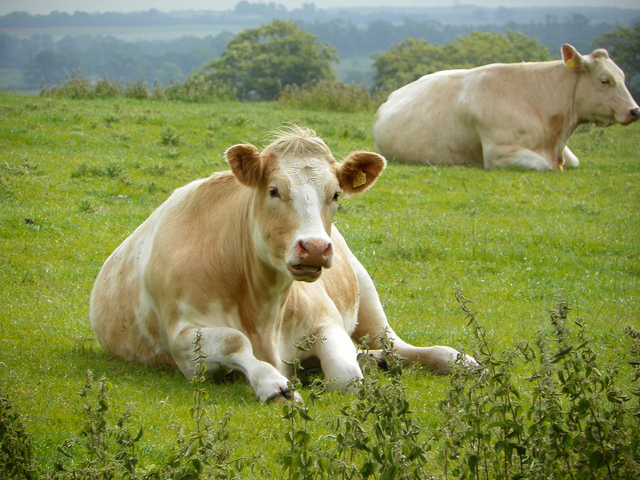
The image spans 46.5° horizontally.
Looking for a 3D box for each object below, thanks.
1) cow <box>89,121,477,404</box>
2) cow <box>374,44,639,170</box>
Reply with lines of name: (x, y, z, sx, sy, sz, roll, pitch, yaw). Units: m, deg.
cow: (-0.568, 0.252, 9.597, 4.175, 3.165, 5.956, 0, 0, -12)
cow: (4.764, -3.108, 19.266, 7.701, 3.498, 2.990, 2, 21, 25)
